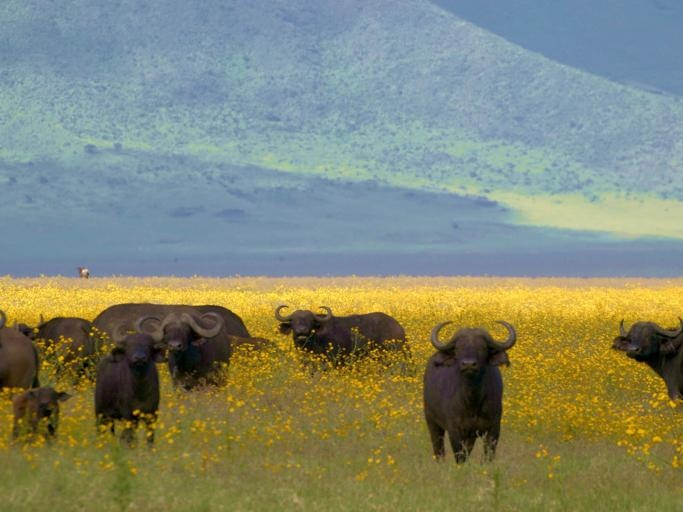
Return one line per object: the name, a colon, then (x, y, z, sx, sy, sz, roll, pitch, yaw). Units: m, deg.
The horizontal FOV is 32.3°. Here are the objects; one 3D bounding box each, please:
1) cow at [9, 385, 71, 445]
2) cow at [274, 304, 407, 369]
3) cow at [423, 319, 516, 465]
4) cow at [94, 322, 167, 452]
cow: (-6.661, 3.428, 25.911, 1.098, 1.146, 0.813, 0, -8, -16)
cow: (0.068, 2.146, 32.020, 3.654, 1.513, 1.259, 3, -9, -34)
cow: (2.604, 2.818, 24.932, 1.322, 3.013, 2.053, 4, -10, -39)
cow: (-4.756, 2.888, 26.392, 1.517, 2.538, 1.440, 0, -8, -12)
